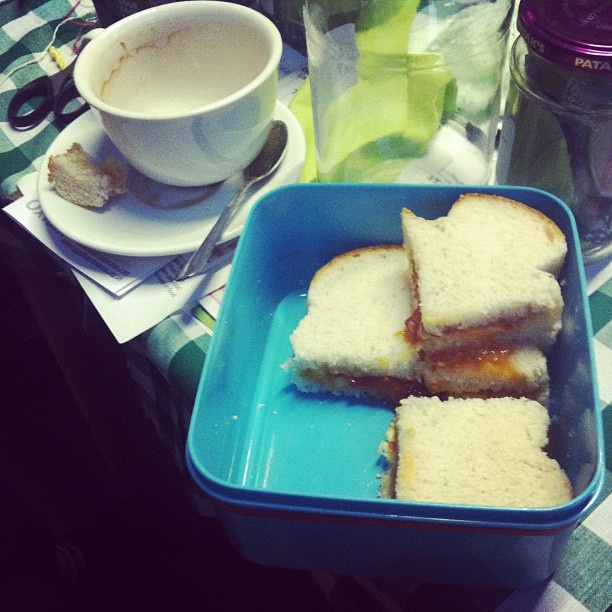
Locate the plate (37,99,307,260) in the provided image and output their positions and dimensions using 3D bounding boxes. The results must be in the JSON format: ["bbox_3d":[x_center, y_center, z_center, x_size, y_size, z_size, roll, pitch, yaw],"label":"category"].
[{"bbox_3d":[-0.132,-0.126,0.689,0.232,0.036,0.225,29,53,27],"label":"plate"}]

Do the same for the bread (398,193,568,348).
[{"bbox_3d":[0.166,-0.033,0.586,0.139,0.070,0.145,-6,52,9],"label":"bread"}]

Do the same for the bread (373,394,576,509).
[{"bbox_3d":[0.138,0.113,0.515,0.132,0.027,0.098,-1,53,12],"label":"bread"}]

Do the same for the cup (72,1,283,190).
[{"bbox_3d":[-0.169,-0.243,0.760,0.267,0.116,0.188,39,67,24],"label":"cup"}]

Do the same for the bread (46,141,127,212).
[{"bbox_3d":[-0.237,-0.130,0.696,0.074,0.020,0.075,43,45,-1],"label":"bread"}]
